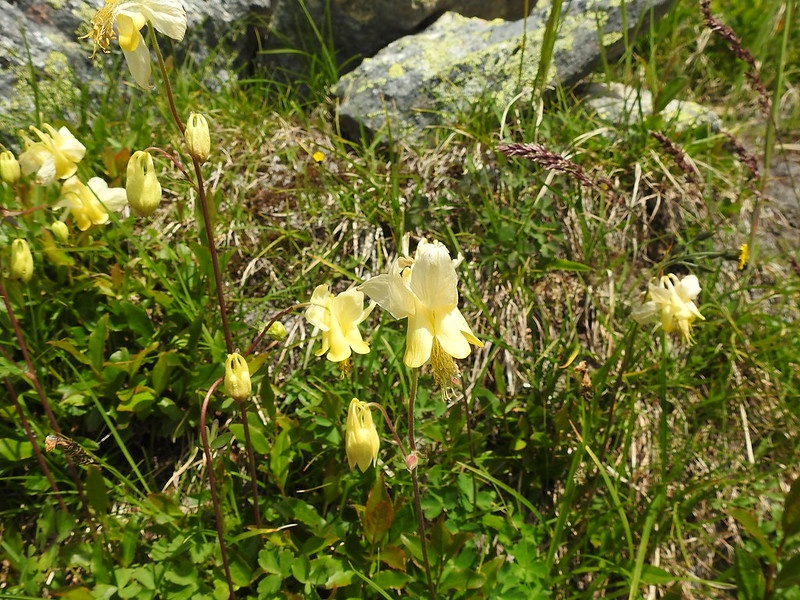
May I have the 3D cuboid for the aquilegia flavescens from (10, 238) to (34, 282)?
[{"bbox_3d":[-1.942,-0.195,3.555,0.080,0.244,0.098,0,7,43],"label":"aquilegia flavescens"}]

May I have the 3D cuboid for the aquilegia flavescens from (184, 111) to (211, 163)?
[{"bbox_3d":[-0.960,-0.779,3.257,0.113,0.240,0.137,-1,37,-19],"label":"aquilegia flavescens"}]

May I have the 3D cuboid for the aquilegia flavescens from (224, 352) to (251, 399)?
[{"bbox_3d":[-0.742,0.338,3.158,0.112,0.252,0.213,3,37,-14],"label":"aquilegia flavescens"}]

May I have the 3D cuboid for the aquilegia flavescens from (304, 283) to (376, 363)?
[{"bbox_3d":[-0.283,0.126,3.329,0.325,0.406,0.275,-1,1,-27],"label":"aquilegia flavescens"}]

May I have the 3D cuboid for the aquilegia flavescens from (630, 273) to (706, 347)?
[{"bbox_3d":[1.442,0.008,3.498,0.380,0.212,0.442,3,24,-5],"label":"aquilegia flavescens"}]

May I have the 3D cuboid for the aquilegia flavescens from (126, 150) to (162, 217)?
[{"bbox_3d":[-1.283,-0.597,3.432,0.155,0.354,0.265,-4,39,-23],"label":"aquilegia flavescens"}]

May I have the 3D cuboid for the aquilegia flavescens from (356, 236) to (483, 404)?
[{"bbox_3d":[0.194,0.025,3.230,0.524,0.251,0.619,59,16,16],"label":"aquilegia flavescens"}]
